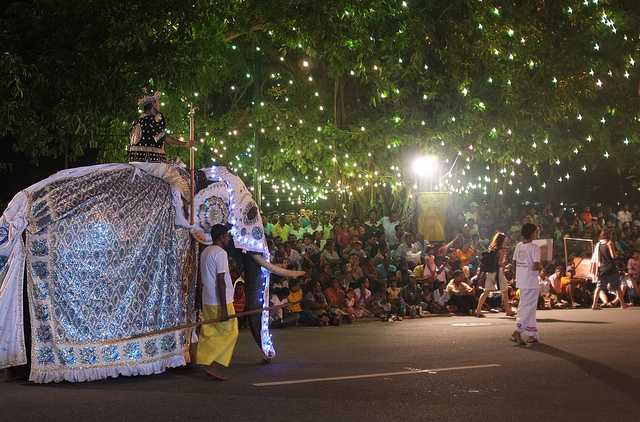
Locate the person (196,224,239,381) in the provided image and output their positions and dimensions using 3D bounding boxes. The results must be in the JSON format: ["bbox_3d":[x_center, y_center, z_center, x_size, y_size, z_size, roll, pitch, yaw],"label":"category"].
[{"bbox_3d":[-1.817,1.608,11.213,0.712,2.769,0.521,1,-6,-7],"label":"person"}]

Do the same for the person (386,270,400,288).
[{"bbox_3d":[2.251,2.069,19.316,0.406,0.526,0.921,-1,-6,7],"label":"person"}]

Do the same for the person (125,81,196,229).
[{"bbox_3d":[-3.020,-1.057,11.937,1.286,2.780,0.895,-5,-8,43],"label":"person"}]

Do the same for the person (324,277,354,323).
[{"bbox_3d":[0.583,2.496,17.575,0.559,1.233,1.220,-7,9,-21],"label":"person"}]

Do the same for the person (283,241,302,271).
[{"bbox_3d":[-0.792,1.332,18.358,0.524,0.884,0.505,-11,-17,-10],"label":"person"}]

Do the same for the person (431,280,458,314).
[{"bbox_3d":[3.820,2.646,19.362,0.740,0.957,0.280,-1,-6,4],"label":"person"}]

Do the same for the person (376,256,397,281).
[{"bbox_3d":[2.053,1.810,19.854,0.750,0.871,0.603,4,-16,-13],"label":"person"}]

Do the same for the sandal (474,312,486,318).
[{"bbox_3d":[4.761,3.101,18.684,0.320,0.132,0.117,12,1,-7],"label":"sandal"}]

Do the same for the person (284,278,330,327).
[{"bbox_3d":[-0.364,2.500,17.173,1.361,1.416,0.639,4,15,27],"label":"person"}]

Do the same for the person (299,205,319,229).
[{"bbox_3d":[-0.428,0.221,24.628,0.853,1.378,0.748,1,-19,-2],"label":"person"}]

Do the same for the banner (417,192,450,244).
[{"bbox_3d":[4.132,0.218,22.933,1.218,1.881,0.511,2,-6,-24],"label":"banner"}]

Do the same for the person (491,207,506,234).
[{"bbox_3d":[7.500,0.384,26.383,0.563,1.115,1.254,-2,-6,17],"label":"person"}]

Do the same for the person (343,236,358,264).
[{"bbox_3d":[0.958,1.187,20.170,0.614,1.144,0.762,2,-7,4],"label":"person"}]

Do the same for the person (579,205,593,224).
[{"bbox_3d":[13.293,0.174,31.448,0.858,0.886,0.249,3,-11,-4],"label":"person"}]

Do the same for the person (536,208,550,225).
[{"bbox_3d":[10.150,0.248,28.600,0.393,0.914,0.584,-10,11,0],"label":"person"}]

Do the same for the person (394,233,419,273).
[{"bbox_3d":[3.023,1.530,21.042,0.729,1.675,0.827,-12,13,-37],"label":"person"}]

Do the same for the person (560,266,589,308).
[{"bbox_3d":[8.611,2.559,21.365,1.143,1.369,0.525,4,-7,-35],"label":"person"}]

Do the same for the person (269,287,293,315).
[{"bbox_3d":[-1.023,2.404,16.732,0.303,0.725,0.861,-3,-7,25],"label":"person"}]

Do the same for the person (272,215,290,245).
[{"bbox_3d":[-1.303,0.583,21.466,0.578,0.963,1.101,0,-6,-4],"label":"person"}]

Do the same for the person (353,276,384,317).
[{"bbox_3d":[1.348,2.454,18.598,0.968,1.310,1.130,-2,-1,23],"label":"person"}]

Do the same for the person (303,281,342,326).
[{"bbox_3d":[0.105,2.558,17.353,1.258,1.104,0.661,3,-1,45],"label":"person"}]

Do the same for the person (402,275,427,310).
[{"bbox_3d":[2.859,2.465,18.995,0.787,1.020,0.330,1,-6,-7],"label":"person"}]

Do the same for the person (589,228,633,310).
[{"bbox_3d":[9.109,1.822,19.989,0.975,2.596,1.051,-3,-6,26],"label":"person"}]

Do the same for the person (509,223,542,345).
[{"bbox_3d":[4.587,1.595,14.134,0.589,2.700,0.851,-4,-7,38],"label":"person"}]

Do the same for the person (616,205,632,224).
[{"bbox_3d":[14.552,0.127,30.117,0.655,0.917,1.681,-3,-7,27],"label":"person"}]
